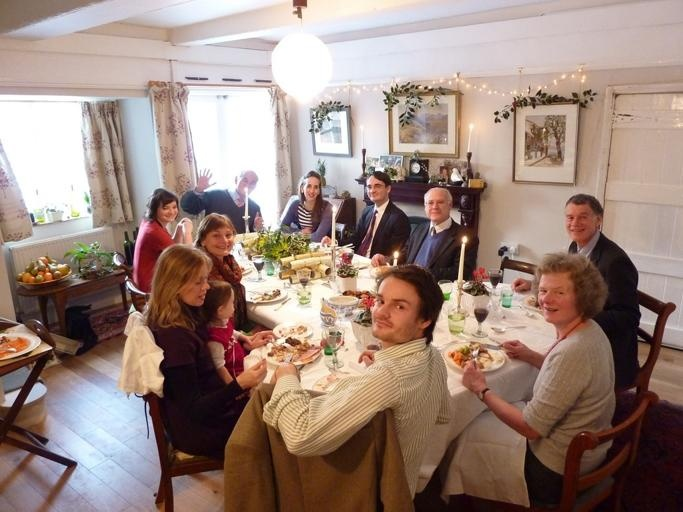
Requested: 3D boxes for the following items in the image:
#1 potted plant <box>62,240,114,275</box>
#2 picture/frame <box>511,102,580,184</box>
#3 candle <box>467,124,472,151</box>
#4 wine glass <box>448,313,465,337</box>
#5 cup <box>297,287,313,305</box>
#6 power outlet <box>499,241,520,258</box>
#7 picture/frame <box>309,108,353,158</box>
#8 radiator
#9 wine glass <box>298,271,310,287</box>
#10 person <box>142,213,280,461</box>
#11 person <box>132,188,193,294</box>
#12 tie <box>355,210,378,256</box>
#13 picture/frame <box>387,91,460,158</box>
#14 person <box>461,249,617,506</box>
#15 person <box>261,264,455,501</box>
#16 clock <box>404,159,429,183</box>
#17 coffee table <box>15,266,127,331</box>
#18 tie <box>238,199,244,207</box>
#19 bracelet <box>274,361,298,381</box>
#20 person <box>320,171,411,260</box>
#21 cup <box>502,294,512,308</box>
[{"bbox_3d":[-2.617,0.003,4.917,0.322,0.226,0.334,14,11,31],"label":"potted plant"},{"bbox_3d":[1.975,-1.105,4.553,0.739,0.994,0.038,7,15,36],"label":"picture/frame"},{"bbox_3d":[1.349,-1.243,4.982,0.059,0.274,0.038,3,16,24],"label":"candle"},{"bbox_3d":[0.660,0.401,2.757,0.113,0.123,0.114,-1,1,-8],"label":"wine glass"},{"bbox_3d":[-0.257,0.273,3.229,0.117,0.167,0.105,-2,24,-7],"label":"cup"},{"bbox_3d":[1.749,-0.068,4.934,0.177,0.125,0.100,5,15,42],"label":"power outlet"},{"bbox_3d":[-0.139,-1.559,5.949,0.618,0.609,0.054,-12,13,-39],"label":"picture/frame"},{"bbox_3d":[-2.858,0.143,4.780,0.822,0.597,0.086,-23,26,-39],"label":"radiator"},{"bbox_3d":[-0.259,0.162,3.295,0.098,0.153,0.104,0,-6,-4],"label":"wine glass"},{"bbox_3d":[-0.716,0.527,2.446,0.492,1.127,0.432,-9,16,-19],"label":"person"},{"bbox_3d":[-1.519,-0.128,4.095,0.519,0.894,0.429,1,23,-20],"label":"person"},{"bbox_3d":[0.244,-0.206,4.530,0.113,0.361,0.263,8,-9,-31],"label":"tie"},{"bbox_3d":[0.919,-1.456,5.193,0.743,0.562,0.066,11,20,37],"label":"picture/frame"},{"bbox_3d":[0.984,0.592,2.327,0.607,1.160,0.504,7,18,35],"label":"person"},{"bbox_3d":[0.084,0.553,1.958,0.802,0.922,0.394,-12,17,-28],"label":"person"},{"bbox_3d":[0.840,-0.992,5.365,0.289,0.333,0.236,12,18,39],"label":"clock"},{"bbox_3d":[-2.639,0.466,4.884,0.449,0.593,1.162,11,20,28],"label":"coffee table"},{"bbox_3d":[-1.085,-0.565,5.095,0.053,0.026,0.075,19,56,3],"label":"tie"},{"bbox_3d":[-0.246,0.511,2.098,0.103,0.057,0.145,-2,6,-13],"label":"bracelet"},{"bbox_3d":[0.272,-0.305,4.472,0.684,0.946,0.670,-4,11,-26],"label":"person"},{"bbox_3d":[1.063,0.292,3.065,0.074,0.086,0.076,-1,-3,0],"label":"cup"}]
